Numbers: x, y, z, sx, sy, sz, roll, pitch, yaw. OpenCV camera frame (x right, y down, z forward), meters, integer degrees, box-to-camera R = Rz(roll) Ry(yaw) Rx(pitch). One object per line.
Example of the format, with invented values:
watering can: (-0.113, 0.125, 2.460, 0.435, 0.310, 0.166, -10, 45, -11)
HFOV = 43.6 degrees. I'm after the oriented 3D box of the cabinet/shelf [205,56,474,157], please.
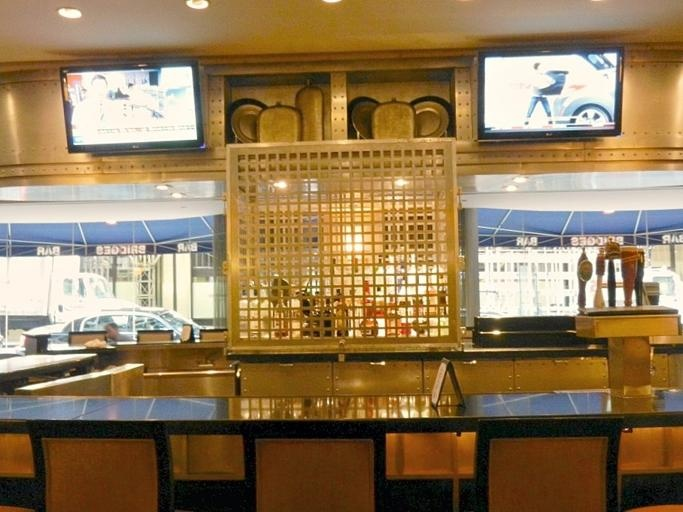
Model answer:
cabinet/shelf: (-0.006, -1.269, 7.588, 2.320, 0.693, 0.681, 0, 2, 6)
